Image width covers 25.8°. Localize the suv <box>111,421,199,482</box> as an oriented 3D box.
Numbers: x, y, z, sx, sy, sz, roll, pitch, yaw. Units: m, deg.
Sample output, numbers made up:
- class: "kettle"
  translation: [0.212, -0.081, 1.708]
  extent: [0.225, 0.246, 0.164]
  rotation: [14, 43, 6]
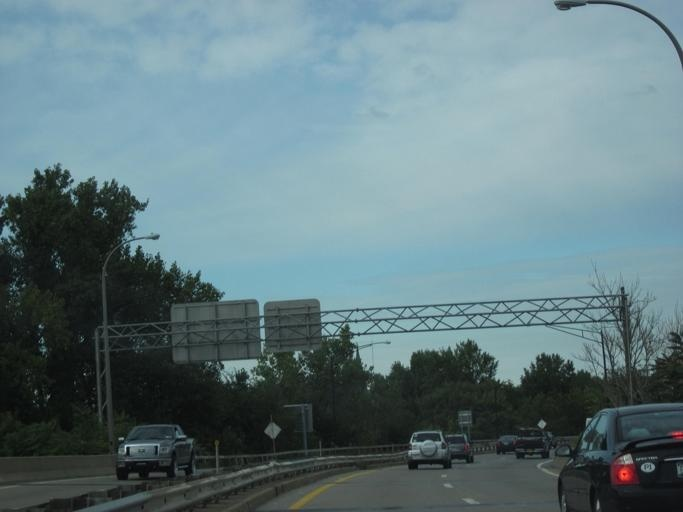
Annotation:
- class: "suv"
  translation: [-10.539, 11.372, 86.496]
  extent: [3.087, 3.450, 6.985]
  rotation: [-3, -8, 8]
